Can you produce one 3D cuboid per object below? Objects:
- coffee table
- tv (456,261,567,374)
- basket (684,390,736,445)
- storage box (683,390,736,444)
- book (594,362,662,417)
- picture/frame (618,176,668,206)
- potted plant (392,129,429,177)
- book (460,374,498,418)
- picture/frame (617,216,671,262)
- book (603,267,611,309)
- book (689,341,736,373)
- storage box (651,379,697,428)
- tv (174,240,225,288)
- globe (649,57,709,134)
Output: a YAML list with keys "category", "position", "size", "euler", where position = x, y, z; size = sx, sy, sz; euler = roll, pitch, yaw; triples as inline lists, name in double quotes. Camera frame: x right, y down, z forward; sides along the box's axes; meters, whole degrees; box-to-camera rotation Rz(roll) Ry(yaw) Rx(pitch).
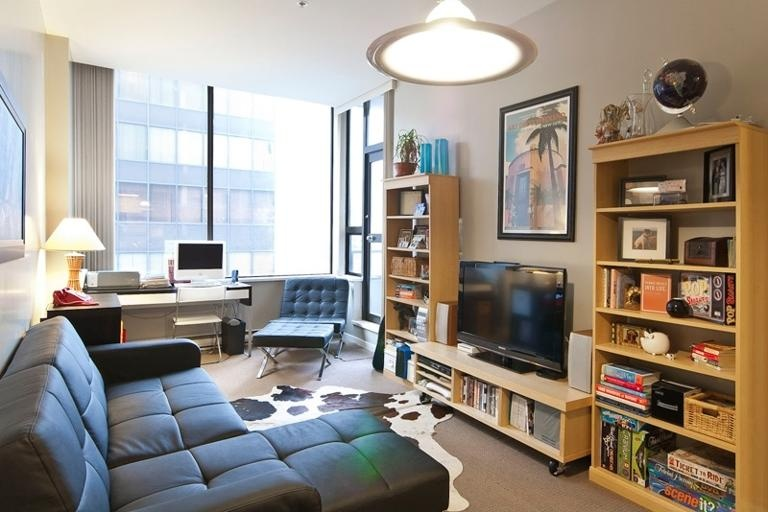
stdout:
- category: "coffee table"
  position: [-2.507, 0.531, 4.352]
  size: [0.438, 0.323, 0.439]
  euler: [-1, 5, -33]
- category: "tv"
  position: [1.102, 0.519, 4.263]
  size: [0.217, 0.742, 0.951]
  euler: [2, 1, -35]
- category: "basket"
  position: [2.113, 1.051, 3.327]
  size: [0.276, 0.160, 0.286]
  euler: [8, -6, 37]
- category: "storage box"
  position: [2.106, 1.020, 3.254]
  size: [0.284, 0.174, 0.285]
  euler: [5, -2, -14]
- category: "book"
  position: [1.680, 0.912, 3.545]
  size: [0.308, 0.215, 0.316]
  euler: [8, 8, 42]
- category: "picture/frame"
  position: [1.818, -0.453, 3.547]
  size: [0.227, 0.196, 0.080]
  euler: [4, 6, 42]
- category: "potted plant"
  position: [0.281, -1.099, 5.407]
  size: [0.311, 0.482, 0.541]
  euler: [2, 13, 4]
- category: "book"
  position: [0.810, 1.163, 4.299]
  size: [0.234, 0.298, 0.404]
  euler: [3, 3, -36]
- category: "picture/frame"
  position: [1.834, -0.122, 3.565]
  size: [0.299, 0.352, 0.035]
  euler: [4, 1, 32]
- category: "book"
  position: [1.609, 0.231, 3.670]
  size: [0.047, 0.363, 0.280]
  euler: [0, -2, 25]
- category: "book"
  position: [2.118, 0.637, 3.278]
  size: [0.169, 0.081, 0.182]
  euler: [6, 8, 40]
- category: "storage box"
  position: [1.899, 0.958, 3.418]
  size: [0.236, 0.264, 0.274]
  euler: [1, -1, -24]
- category: "tv"
  position: [-2.225, 0.092, 6.135]
  size: [0.567, 0.526, 0.230]
  euler: [0, 0, -26]
- category: "globe"
  position: [1.983, -1.087, 3.454]
  size: [0.314, 0.487, 0.354]
  euler: [-28, 26, -25]
